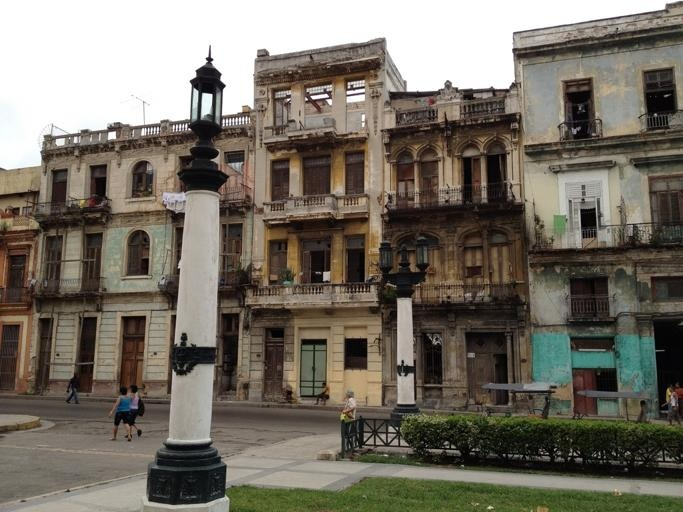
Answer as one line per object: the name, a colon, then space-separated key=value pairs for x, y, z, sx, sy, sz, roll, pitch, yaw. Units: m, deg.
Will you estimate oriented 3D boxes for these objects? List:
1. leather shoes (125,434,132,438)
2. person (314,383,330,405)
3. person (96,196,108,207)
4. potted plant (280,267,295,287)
leather shoes: x=-7.745 y=6.555 z=26.492 sx=0.280 sy=0.132 sz=0.279 roll=2 pitch=-5 yaw=-31
person: x=-1.031 y=7.609 z=40.525 sx=0.739 sy=1.176 sz=1.003 roll=0 pitch=-11 yaw=-2
person: x=-15.417 y=-3.487 z=46.851 sx=0.599 sy=0.394 sz=0.795 roll=-1 pitch=4 yaw=1
potted plant: x=-3.055 y=1.228 z=42.079 sx=0.818 sy=1.246 sz=1.204 roll=1 pitch=-11 yaw=-5
